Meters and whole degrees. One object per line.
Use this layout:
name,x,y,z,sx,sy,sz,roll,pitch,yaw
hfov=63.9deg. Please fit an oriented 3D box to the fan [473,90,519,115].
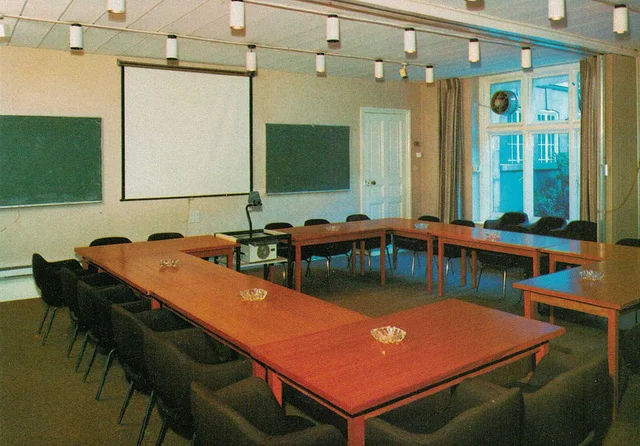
fan,3.227,-2.138,9.184,0.490,0.358,0.258,6,8,34
